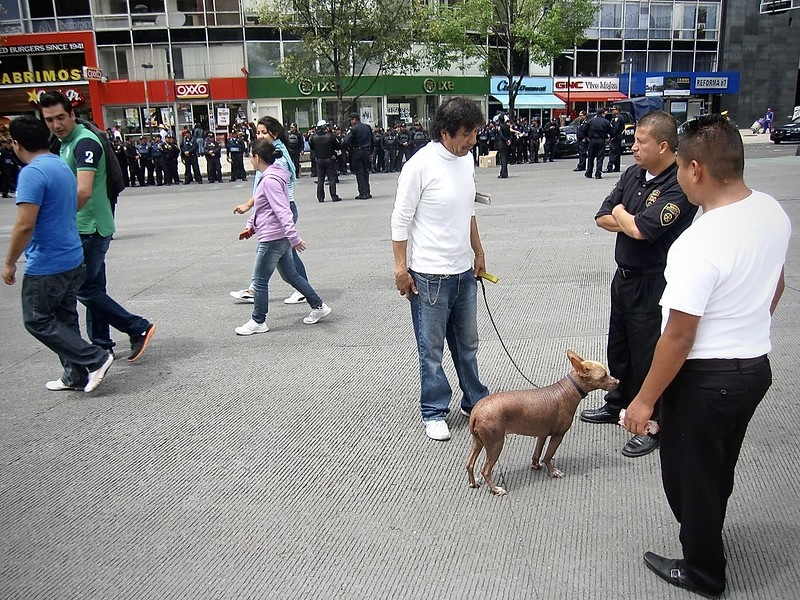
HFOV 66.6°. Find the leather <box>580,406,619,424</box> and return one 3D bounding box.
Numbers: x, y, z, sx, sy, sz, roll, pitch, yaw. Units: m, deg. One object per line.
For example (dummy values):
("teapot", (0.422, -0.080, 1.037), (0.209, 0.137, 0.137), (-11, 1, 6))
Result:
("leather", (1.549, 0.899, 4.739), (0.297, 0.134, 0.118), (3, 6, 12))

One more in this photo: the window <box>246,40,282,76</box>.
("window", (-8.541, -15.043, 37.982), (2.064, 2.093, 0.387), (-7, 17, -11))

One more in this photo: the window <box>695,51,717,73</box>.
("window", (24.829, -19.393, 49.740), (1.718, 1.823, 0.419), (-2, 14, -10))

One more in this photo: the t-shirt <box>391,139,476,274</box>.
("t-shirt", (0.233, -0.653, 4.395), (0.587, 0.945, 0.295), (-3, 17, 1))

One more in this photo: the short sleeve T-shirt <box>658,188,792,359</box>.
("short sleeve T-shirt", (1.507, -0.142, 2.900), (0.815, 0.836, 0.428), (-20, 26, -34))

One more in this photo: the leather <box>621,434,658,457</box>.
("leather", (1.657, 1.017, 4.231), (0.196, 0.113, 0.213), (10, 22, 37))

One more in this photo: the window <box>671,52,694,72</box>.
("window", (22.437, -19.130, 48.688), (1.611, 1.840, 0.171), (-1, 9, -14))

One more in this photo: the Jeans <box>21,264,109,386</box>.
("Jeans", (-3.058, 0.239, 5.577), (0.557, 1.207, 0.427), (5, 38, -9))

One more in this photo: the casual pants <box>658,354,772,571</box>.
("casual pants", (1.499, 0.801, 2.946), (0.459, 1.107, 0.305), (3, 18, 19))

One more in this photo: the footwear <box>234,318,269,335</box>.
("footwear", (-1.688, 0.298, 6.898), (0.352, 0.173, 0.159), (0, 6, -14))

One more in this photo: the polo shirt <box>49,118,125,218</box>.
("polo shirt", (-3.157, -1.208, 6.069), (0.493, 0.961, 0.846), (-2, -11, -34))

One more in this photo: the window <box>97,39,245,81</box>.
("window", (-14.067, -14.800, 37.655), (8.709, 2.284, 0.821), (-3, 17, 2))
